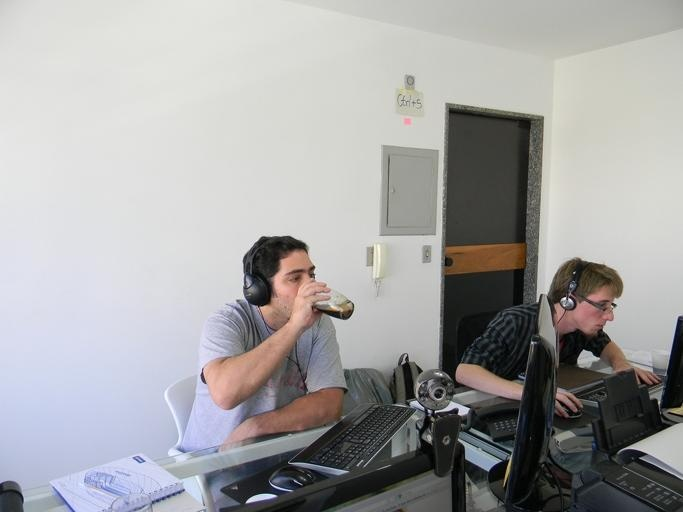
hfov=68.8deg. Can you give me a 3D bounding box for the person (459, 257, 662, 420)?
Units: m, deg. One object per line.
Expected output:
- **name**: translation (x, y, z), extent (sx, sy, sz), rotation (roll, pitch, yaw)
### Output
- **person**: translation (0.939, 0.313, 2.289), extent (0.934, 0.578, 0.645), rotation (2, 7, -22)

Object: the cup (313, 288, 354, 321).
- **cup**: translation (-0.033, 0.166, 1.688), extent (0.128, 0.095, 0.085), rotation (3, 4, -3)

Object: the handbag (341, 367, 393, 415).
- **handbag**: translation (0.137, 0.874, 3.395), extent (0.154, 0.243, 0.288), rotation (18, -8, 11)

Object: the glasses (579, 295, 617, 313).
- **glasses**: translation (1.132, 0.205, 2.207), extent (0.095, 0.028, 0.096), rotation (1, 19, -46)

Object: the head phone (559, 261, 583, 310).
- **head phone**: translation (1.033, 0.143, 2.248), extent (0.069, 0.197, 0.205), rotation (21, 3, 26)

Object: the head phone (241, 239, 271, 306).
- **head phone**: translation (-0.335, 0.088, 1.882), extent (0.098, 0.210, 0.241), rotation (-5, -6, 1)

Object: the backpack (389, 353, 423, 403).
- **backpack**: translation (0.470, 0.859, 3.539), extent (0.198, 0.340, 0.250), rotation (7, -1, 28)

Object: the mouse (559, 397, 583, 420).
- **mouse**: translation (0.830, 0.562, 1.805), extent (0.043, 0.022, 0.068), rotation (-6, 7, -29)
